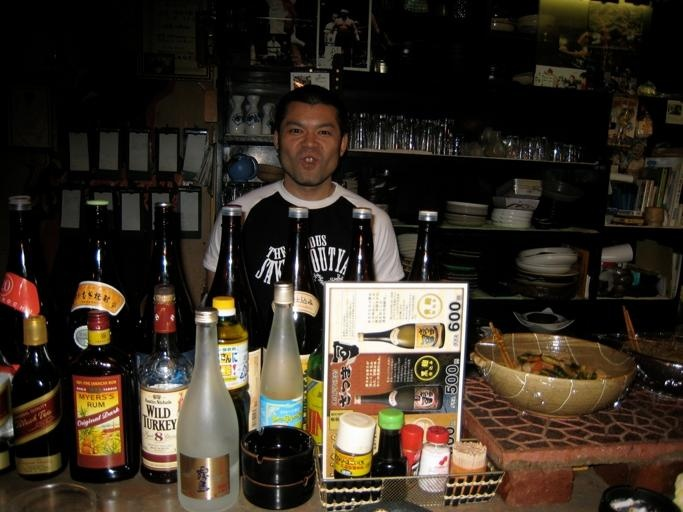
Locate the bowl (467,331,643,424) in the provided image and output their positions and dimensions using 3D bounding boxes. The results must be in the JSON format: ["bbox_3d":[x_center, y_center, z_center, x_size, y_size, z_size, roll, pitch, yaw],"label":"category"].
[{"bbox_3d":[0.546,0.303,1.484,0.381,0.159,0.317,4,10,27],"label":"bowl"}]

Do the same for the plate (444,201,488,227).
[{"bbox_3d":[0.787,-0.270,3.553,0.191,0.092,0.165,-3,8,-32],"label":"plate"}]

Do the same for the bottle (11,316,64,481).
[{"bbox_3d":[-0.686,0.350,1.288,0.101,0.303,0.058,-6,10,-29],"label":"bottle"}]

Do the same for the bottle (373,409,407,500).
[{"bbox_3d":[0.104,0.435,1.258,0.077,0.208,0.076,-1,9,0],"label":"bottle"}]

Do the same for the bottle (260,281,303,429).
[{"bbox_3d":[-0.142,0.222,1.307,0.105,0.344,0.157,-1,9,-5],"label":"bottle"}]

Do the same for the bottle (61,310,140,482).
[{"bbox_3d":[-0.538,0.349,1.287,0.152,0.308,0.080,-4,10,-23],"label":"bottle"}]

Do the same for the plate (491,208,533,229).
[{"bbox_3d":[1.067,-0.237,3.614,0.158,0.098,0.160,2,7,6],"label":"plate"}]

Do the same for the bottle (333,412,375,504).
[{"bbox_3d":[0.028,0.437,1.250,0.092,0.192,0.065,-1,9,-2],"label":"bottle"}]

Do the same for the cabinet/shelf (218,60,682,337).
[{"bbox_3d":[0.578,-0.377,3.009,1.816,1.540,0.524,1,-5,-9],"label":"cabinet/shelf"}]

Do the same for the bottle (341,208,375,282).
[{"bbox_3d":[0.044,-0.030,1.509,0.076,0.205,0.186,0,9,2],"label":"bottle"}]
